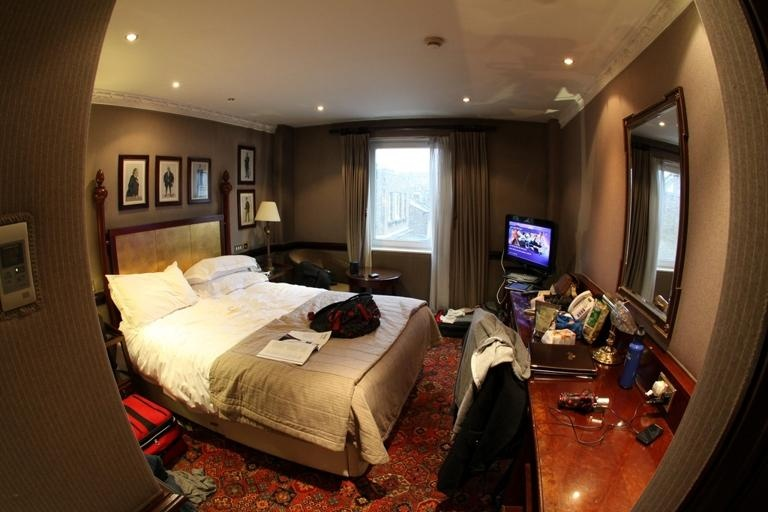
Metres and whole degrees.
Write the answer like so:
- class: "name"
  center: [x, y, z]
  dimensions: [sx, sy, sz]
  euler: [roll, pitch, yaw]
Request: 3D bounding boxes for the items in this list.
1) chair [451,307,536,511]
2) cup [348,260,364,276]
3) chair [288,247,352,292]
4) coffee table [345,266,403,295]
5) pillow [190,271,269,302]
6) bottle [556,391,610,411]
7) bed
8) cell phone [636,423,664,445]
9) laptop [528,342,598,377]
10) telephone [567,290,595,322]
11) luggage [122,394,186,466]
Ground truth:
- class: "chair"
  center: [0.626, 0.924, 2.721]
  dimensions: [0.440, 0.919, 0.867]
  euler: [11, 15, 5]
- class: "cup"
  center: [-0.342, 0.150, 5.983]
  dimensions: [0.150, 0.187, 0.192]
  euler: [-4, 11, -22]
- class: "chair"
  center: [-0.816, 0.249, 6.371]
  dimensions: [0.591, 0.716, 0.622]
  euler: [-7, -4, 36]
- class: "coffee table"
  center: [-0.137, 0.296, 5.806]
  dimensions: [0.391, 0.473, 0.417]
  euler: [1, 3, 7]
- class: "pillow"
  center: [-1.511, 0.263, 4.729]
  dimensions: [0.199, 0.101, 0.566]
  euler: [27, 15, 17]
- class: "bottle"
  center: [0.994, 0.695, 2.385]
  dimensions: [0.181, 0.073, 0.110]
  euler: [1, 20, 16]
- class: "bed"
  center: [-0.899, 0.210, 3.800]
  dimensions: [2.241, 1.628, 1.866]
  euler: [6, 14, 26]
- class: "cell phone"
  center: [1.233, 0.811, 2.213]
  dimensions: [0.127, 0.028, 0.062]
  euler: [-23, 22, -31]
- class: "laptop"
  center: [1.019, 0.599, 2.752]
  dimensions: [0.192, 0.046, 0.217]
  euler: [4, 21, 8]
- class: "telephone"
  center: [1.346, 0.350, 3.255]
  dimensions: [0.067, 0.200, 0.141]
  euler: [17, 26, -33]
- class: "luggage"
  center: [-1.529, 1.319, 3.478]
  dimensions: [0.362, 0.249, 0.484]
  euler: [-34, -2, -4]
